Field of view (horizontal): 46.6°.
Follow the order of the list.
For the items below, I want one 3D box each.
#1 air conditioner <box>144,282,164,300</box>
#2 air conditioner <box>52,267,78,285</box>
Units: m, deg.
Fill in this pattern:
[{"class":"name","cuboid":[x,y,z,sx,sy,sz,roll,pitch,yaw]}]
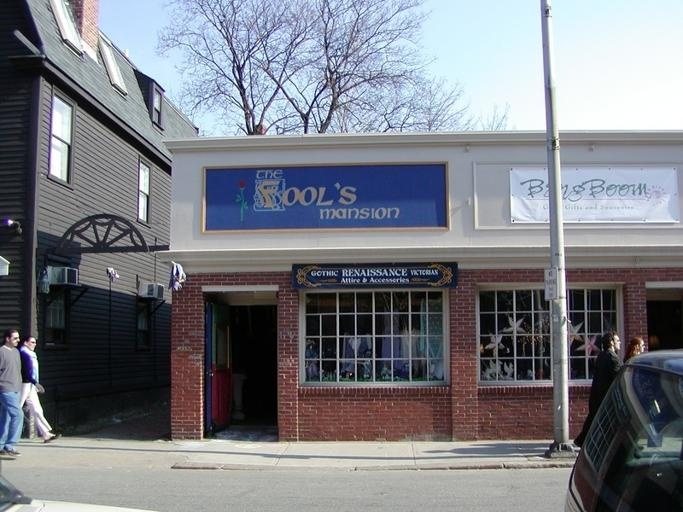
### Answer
[{"class":"air conditioner","cuboid":[-5.580,1.146,23.560,0.381,0.543,0.743,0,-5,2]},{"class":"air conditioner","cuboid":[-6.448,0.581,18.532,0.311,0.448,0.612,-5,-11,14]}]
